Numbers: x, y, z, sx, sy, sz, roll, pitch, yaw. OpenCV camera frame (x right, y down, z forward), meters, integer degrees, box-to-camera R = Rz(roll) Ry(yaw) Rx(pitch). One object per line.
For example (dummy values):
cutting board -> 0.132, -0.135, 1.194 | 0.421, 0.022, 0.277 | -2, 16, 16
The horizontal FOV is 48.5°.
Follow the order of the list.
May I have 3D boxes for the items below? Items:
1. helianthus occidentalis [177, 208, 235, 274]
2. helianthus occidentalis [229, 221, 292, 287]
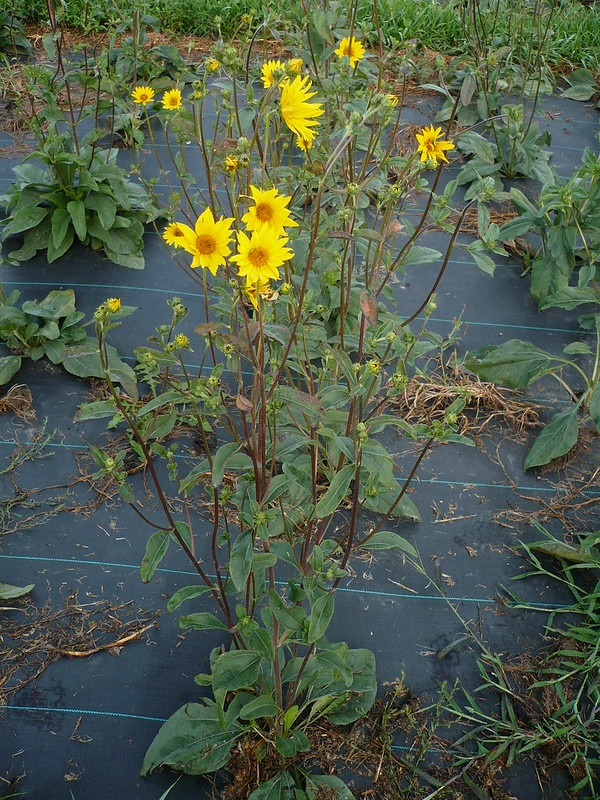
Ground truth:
helianthus occidentalis -> -0.238, -0.404, 1.649 | 0.177, 0.176, 0.067 | -8, 68, 0
helianthus occidentalis -> -0.081, -0.329, 1.529 | 0.156, 0.140, 0.088 | -26, 45, -36
